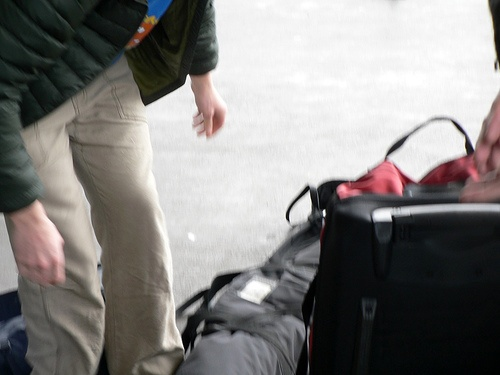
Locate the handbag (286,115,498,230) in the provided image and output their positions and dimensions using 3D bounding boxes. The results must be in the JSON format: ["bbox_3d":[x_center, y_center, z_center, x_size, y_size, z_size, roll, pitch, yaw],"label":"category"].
[{"bbox_3d":[0.373,-0.050,1.653,0.380,0.155,0.246,-35,24,-2],"label":"handbag"}]
